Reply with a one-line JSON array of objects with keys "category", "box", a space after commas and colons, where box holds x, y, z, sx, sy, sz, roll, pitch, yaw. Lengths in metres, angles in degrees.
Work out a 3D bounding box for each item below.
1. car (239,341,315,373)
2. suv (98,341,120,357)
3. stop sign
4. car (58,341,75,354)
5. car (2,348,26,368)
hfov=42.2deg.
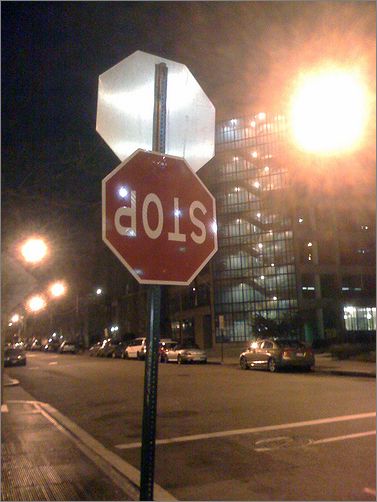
[{"category": "car", "box": [3.555, 4.332, 20.545, 1.297, 1.087, 2.993, 6, -11, -23]}, {"category": "suv", "box": [-7.060, 8.860, 43.803, 1.093, 1.077, 2.556, 2, -8, -24]}, {"category": "stop sign", "box": [-0.174, -0.237, 3.174, 0.868, 0.897, 0.135, 6, -11, -39]}, {"category": "car", "box": [-15.829, 12.759, 63.999, 2.787, 1.442, 1.353, -9, -12, 33]}, {"category": "car", "box": [-11.190, 6.948, 31.616, 1.226, 1.117, 1.760, 3, -12, -24]}]
